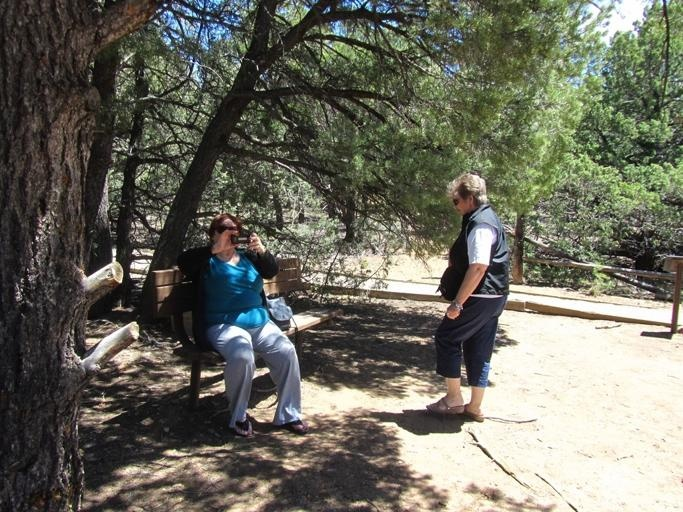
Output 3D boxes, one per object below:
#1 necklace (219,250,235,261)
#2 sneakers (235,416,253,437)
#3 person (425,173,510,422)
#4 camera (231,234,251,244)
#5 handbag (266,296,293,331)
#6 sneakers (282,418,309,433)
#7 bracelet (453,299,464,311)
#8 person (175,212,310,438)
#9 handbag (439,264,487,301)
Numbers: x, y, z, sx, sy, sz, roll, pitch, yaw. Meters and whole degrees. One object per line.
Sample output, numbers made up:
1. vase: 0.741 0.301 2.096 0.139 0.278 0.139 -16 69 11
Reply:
1. necklace: -1.036 0.003 4.959 0.091 0.072 0.095 3 -1 3
2. sneakers: -0.797 1.396 4.463 0.156 0.112 0.142 2 7 -11
3. person: 1.114 0.387 4.809 0.613 2.210 0.524 5 7 18
4. camera: -0.868 -0.141 4.834 0.170 0.081 0.100 -3 10 -44
5. handbag: -0.613 0.565 5.298 0.191 0.367 0.297 -7 2 28
6. sneakers: -0.389 1.416 4.611 0.226 0.071 0.084 0 6 35
7. bracelet: 0.963 0.421 4.661 0.087 0.060 0.086 30 9 -31
8. person: -0.810 0.540 4.823 0.789 1.757 1.258 -4 10 -43
9. handbag: 1.059 0.237 4.899 0.232 0.330 0.336 -3 -6 1
